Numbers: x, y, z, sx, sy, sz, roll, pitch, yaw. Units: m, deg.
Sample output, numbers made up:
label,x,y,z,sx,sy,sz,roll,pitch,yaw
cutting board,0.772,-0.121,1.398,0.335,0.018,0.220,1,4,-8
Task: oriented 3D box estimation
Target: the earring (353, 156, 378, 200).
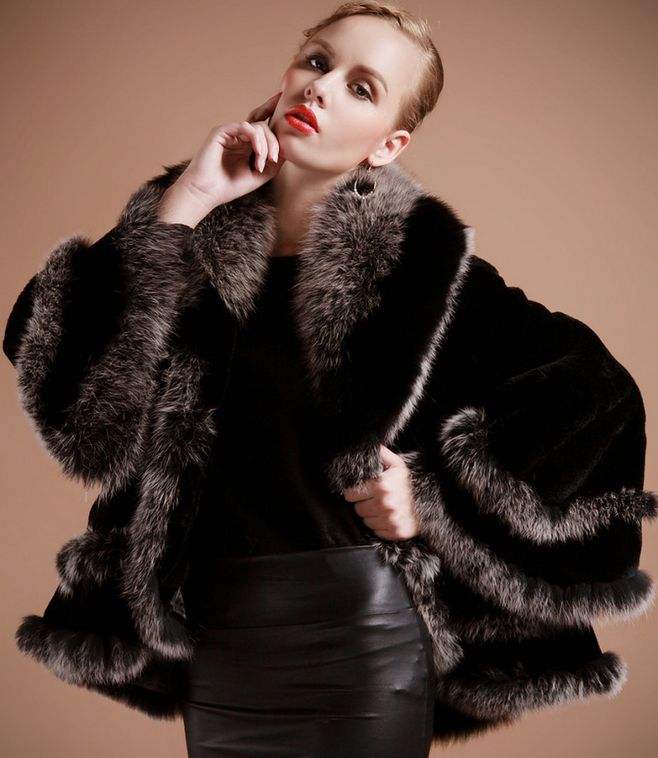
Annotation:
label,x,y,z,sx,sy,sz,roll,pitch,yaw
earring,0.077,-0.373,1.614,0.055,0.059,0.022,0,9,1
